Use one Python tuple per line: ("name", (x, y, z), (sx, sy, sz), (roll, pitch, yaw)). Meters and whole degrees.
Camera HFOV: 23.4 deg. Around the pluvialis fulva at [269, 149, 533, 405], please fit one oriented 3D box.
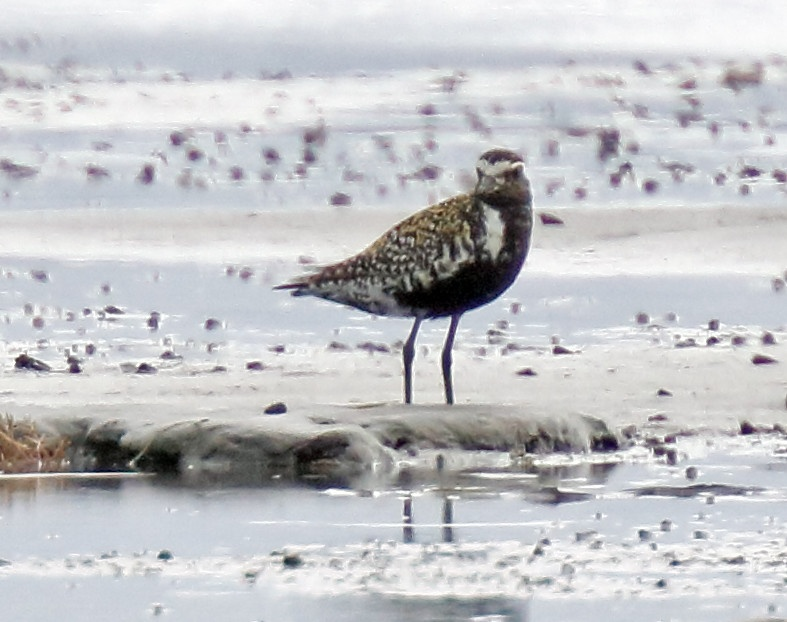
("pluvialis fulva", (0.219, -0.223, 13.613), (1.508, 1.750, 0.621), (0, 15, 1))
